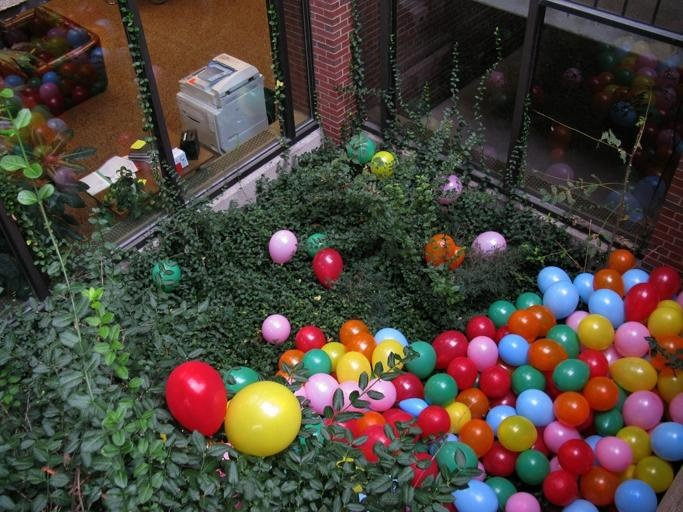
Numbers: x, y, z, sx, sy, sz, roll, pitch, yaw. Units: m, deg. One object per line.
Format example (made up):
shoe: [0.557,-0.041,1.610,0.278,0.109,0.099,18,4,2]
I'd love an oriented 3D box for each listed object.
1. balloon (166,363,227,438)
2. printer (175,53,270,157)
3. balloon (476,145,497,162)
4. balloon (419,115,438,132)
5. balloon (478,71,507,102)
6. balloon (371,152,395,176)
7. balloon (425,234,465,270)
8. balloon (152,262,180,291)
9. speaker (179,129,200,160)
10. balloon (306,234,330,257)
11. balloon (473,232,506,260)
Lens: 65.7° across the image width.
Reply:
balloon: [-0.768,0.778,2.883,0.306,0.336,0.446,-2,91,2]
printer: [-1.397,-1.847,6.230,0.938,0.843,1.029,-13,42,-18]
balloon: [1.542,-1.108,5.718,0.162,0.162,0.211,11,82,-25]
balloon: [1.010,-1.540,6.088,0.217,0.162,0.064,20,54,12]
balloon: [1.543,-1.734,5.373,0.235,0.269,0.092,-4,17,21]
balloon: [0.449,-1.068,5.907,0.246,0.260,0.314,2,45,-5]
balloon: [1.013,-0.065,5.041,0.259,0.266,0.276,-4,93,-27]
balloon: [-1.642,0.184,5.113,0.240,0.306,0.272,-3,60,-5]
speaker: [-1.696,-1.256,5.958,0.150,0.298,0.306,1,46,2]
balloon: [-0.244,-0.118,5.524,0.194,0.241,0.224,3,95,-2]
balloon: [1.436,-0.119,5.201,0.244,0.303,0.273,19,81,-10]
